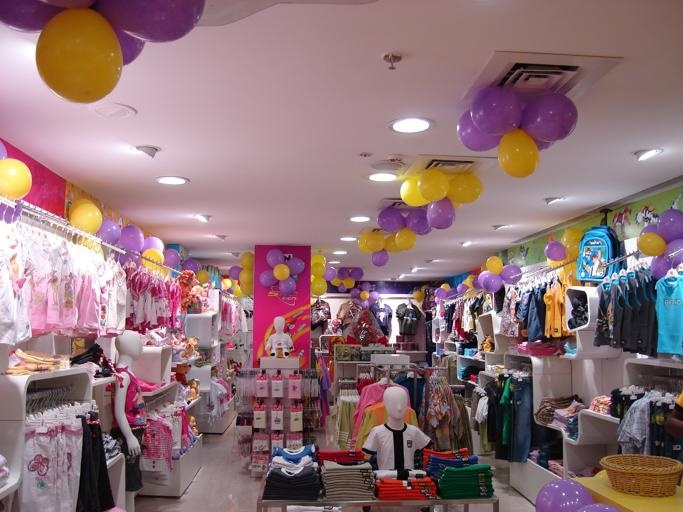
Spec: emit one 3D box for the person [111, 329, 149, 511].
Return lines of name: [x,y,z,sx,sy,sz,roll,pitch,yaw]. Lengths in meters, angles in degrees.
person: [-2.120,1.665,4.491,0.336,1.824,0.630,4,-9,-27]

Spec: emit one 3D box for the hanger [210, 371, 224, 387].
hanger: [-2.232,2.234,8.148,0.184,0.150,0.265,1,-17,-1]

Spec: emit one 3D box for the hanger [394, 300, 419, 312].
hanger: [2.179,1.609,14.627,0.479,0.292,0.282,5,-33,2]

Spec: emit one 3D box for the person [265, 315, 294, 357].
person: [-1.089,1.415,7.886,0.608,0.897,0.316,0,-19,-2]

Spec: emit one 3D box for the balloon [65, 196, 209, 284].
balloon: [-2.353,-0.239,5.260,1.602,0.350,0.347,33,-12,-12]

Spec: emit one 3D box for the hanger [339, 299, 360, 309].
hanger: [0.286,1.398,13.203,0.326,0.171,0.443,0,1,-8]
